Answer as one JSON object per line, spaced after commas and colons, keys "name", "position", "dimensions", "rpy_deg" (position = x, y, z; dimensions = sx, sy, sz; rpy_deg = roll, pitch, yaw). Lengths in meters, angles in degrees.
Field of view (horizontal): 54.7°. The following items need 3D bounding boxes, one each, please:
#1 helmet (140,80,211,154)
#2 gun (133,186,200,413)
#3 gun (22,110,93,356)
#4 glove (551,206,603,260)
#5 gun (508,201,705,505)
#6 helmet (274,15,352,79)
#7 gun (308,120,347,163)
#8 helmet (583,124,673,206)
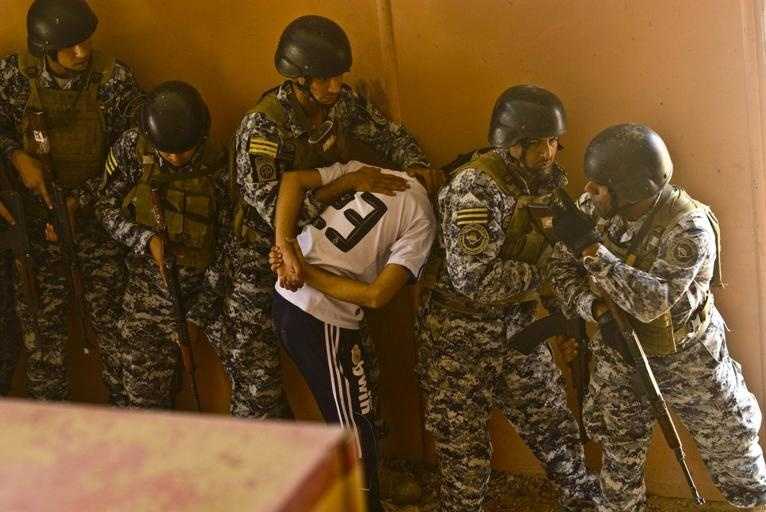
{"name": "helmet", "position": [-1.023, -0.678, 3.634], "dimensions": [0.298, 0.356, 0.267], "rpy_deg": [1, 0, -7]}
{"name": "gun", "position": [-1.143, 0.185, 3.864], "dimensions": [0.087, 1.179, 0.272], "rpy_deg": [-12, 10, -10]}
{"name": "gun", "position": [-1.798, -0.180, 4.071], "dimensions": [0.107, 1.305, 0.363], "rpy_deg": [-12, 10, -33]}
{"name": "glove", "position": [0.787, -0.099, 2.993], "dimensions": [0.154, 0.210, 0.090], "rpy_deg": [-37, -6, 5]}
{"name": "gun", "position": [0.983, 0.378, 3.193], "dimensions": [0.474, 1.315, 0.092], "rpy_deg": [-13, 13, 42]}
{"name": "helmet", "position": [-0.339, -0.965, 3.442], "dimensions": [0.261, 0.266, 0.323], "rpy_deg": [-24, 41, -38]}
{"name": "gun", "position": [-0.268, -0.537, 3.597], "dimensions": [0.078, 0.153, 0.199], "rpy_deg": [34, -18, 20]}
{"name": "helmet", "position": [1.040, -0.406, 3.107], "dimensions": [0.376, 0.303, 0.301], "rpy_deg": [-7, 29, 0]}
